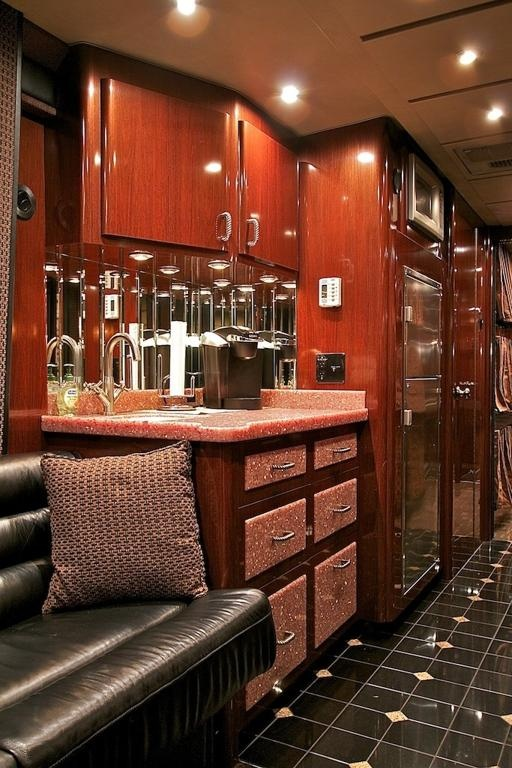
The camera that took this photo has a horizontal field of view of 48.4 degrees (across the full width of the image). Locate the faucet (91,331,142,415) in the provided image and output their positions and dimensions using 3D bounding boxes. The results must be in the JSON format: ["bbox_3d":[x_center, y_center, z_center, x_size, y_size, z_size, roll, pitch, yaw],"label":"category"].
[{"bbox_3d":[-0.544,-0.036,2.257,0.153,0.313,0.415,0,-3,-11],"label":"faucet"}]

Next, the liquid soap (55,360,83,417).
[{"bbox_3d":[-0.706,0.015,2.165,0.115,0.190,0.064,2,-4,-40],"label":"liquid soap"}]
